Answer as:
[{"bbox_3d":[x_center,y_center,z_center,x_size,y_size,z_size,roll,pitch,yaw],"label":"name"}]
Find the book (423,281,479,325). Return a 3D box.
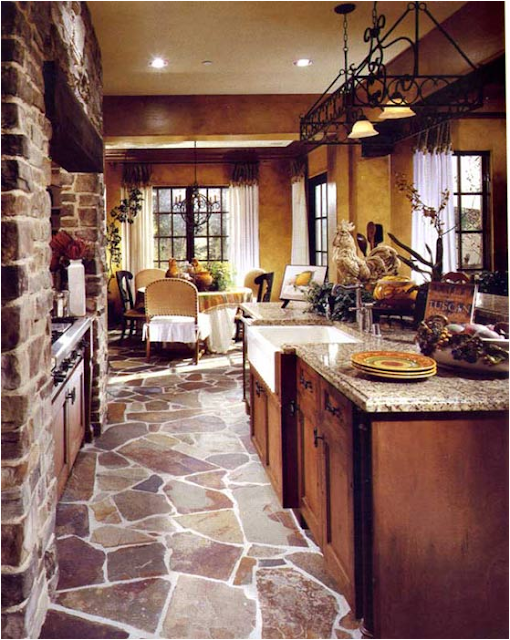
[{"bbox_3d":[0.716,-0.064,1.852,0.024,0.172,0.181,8,-3,-20],"label":"book"}]

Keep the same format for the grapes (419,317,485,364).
[{"bbox_3d":[0.608,0.056,1.578,0.134,0.066,0.128,9,-6,7],"label":"grapes"}]

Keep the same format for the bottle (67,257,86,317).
[{"bbox_3d":[-1.173,-0.208,3.369,0.106,0.361,0.128,-1,-2,-18],"label":"bottle"}]

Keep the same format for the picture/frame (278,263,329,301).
[{"bbox_3d":[0.362,-0.290,3.910,0.200,0.262,0.440,-6,8,-30],"label":"picture/frame"}]

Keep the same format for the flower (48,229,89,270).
[{"bbox_3d":[-1.186,-0.445,3.250,0.246,0.253,0.164,-3,7,-13],"label":"flower"}]

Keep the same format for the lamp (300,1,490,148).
[{"bbox_3d":[1.002,-1.747,3.566,0.479,0.737,1.194,-4,12,-5],"label":"lamp"}]

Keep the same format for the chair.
[{"bbox_3d":[-0.746,-0.030,6.635,1.182,0.833,1.625,-1,0,10],"label":"chair"}]

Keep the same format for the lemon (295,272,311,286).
[{"bbox_3d":[0.375,-0.324,3.918,0.070,0.113,0.160,-7,9,-40],"label":"lemon"}]

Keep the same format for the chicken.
[{"bbox_3d":[0.651,-0.372,2.949,0.413,0.427,0.168,8,-7,-12],"label":"chicken"}]

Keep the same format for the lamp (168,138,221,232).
[{"bbox_3d":[-0.979,-2.262,8.782,0.785,1.447,1.353,-2,7,-9],"label":"lamp"}]
